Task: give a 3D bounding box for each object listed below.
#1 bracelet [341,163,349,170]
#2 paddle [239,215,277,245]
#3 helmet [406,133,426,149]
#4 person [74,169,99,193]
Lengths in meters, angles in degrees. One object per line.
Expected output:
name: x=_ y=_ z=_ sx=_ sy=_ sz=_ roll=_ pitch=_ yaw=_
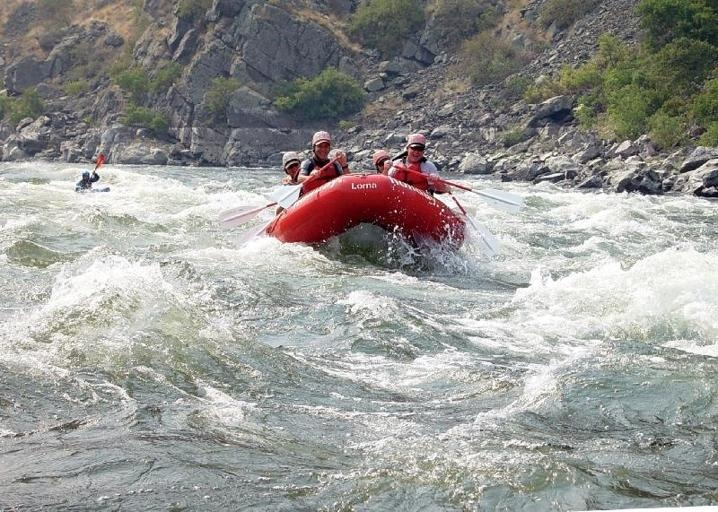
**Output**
bracelet: x=-0.410 y=-2.622 z=29.400 sx=0.166 sy=0.054 sz=0.159 roll=-9 pitch=-12 yaw=31
paddle: x=-3.060 y=-0.679 z=29.307 sx=0.411 sy=0.196 sz=1.854 roll=50 pitch=48 yaw=3
helmet: x=1.652 y=-3.328 z=29.196 sx=0.449 sy=0.367 sz=0.522 roll=7 pitch=15 yaw=-9
person: x=-9.392 y=-2.583 z=34.524 sx=0.597 sy=0.706 sz=0.960 roll=10 pitch=12 yaw=6
